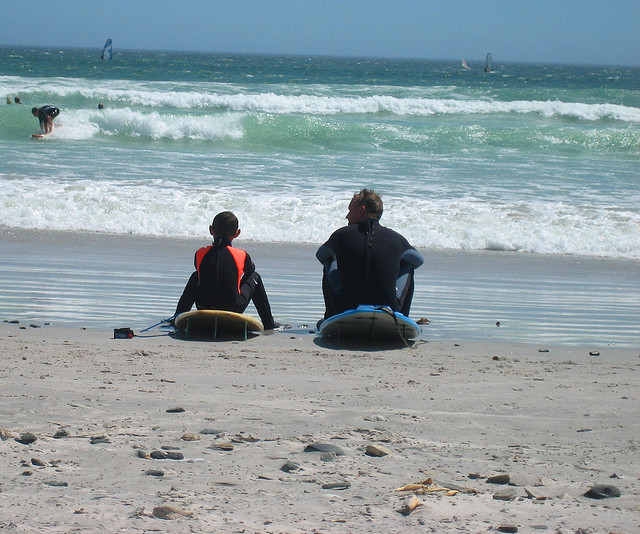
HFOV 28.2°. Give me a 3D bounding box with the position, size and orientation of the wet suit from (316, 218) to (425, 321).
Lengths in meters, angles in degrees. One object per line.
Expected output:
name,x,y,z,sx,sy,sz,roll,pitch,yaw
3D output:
wet suit,0.485,0.090,12.251,1.126,0.858,0.796,2,-7,1

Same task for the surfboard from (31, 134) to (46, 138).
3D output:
surfboard,-5.424,-2.529,24.833,0.198,0.062,0.334,6,5,41

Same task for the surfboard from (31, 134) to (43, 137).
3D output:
surfboard,-5.487,-2.536,24.784,0.206,0.053,0.209,2,4,-10

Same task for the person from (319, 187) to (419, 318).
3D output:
person,0.463,-0.097,12.031,0.942,1.236,0.428,3,5,3

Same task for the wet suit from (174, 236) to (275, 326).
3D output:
wet suit,-0.845,0.069,12.498,1.331,1.002,0.700,2,22,1

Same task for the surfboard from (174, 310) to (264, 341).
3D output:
surfboard,-0.962,0.551,12.222,0.849,0.282,0.356,2,4,-5

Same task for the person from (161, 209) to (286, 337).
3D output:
person,-1.002,0.079,12.573,1.545,1.113,0.780,6,4,-5
